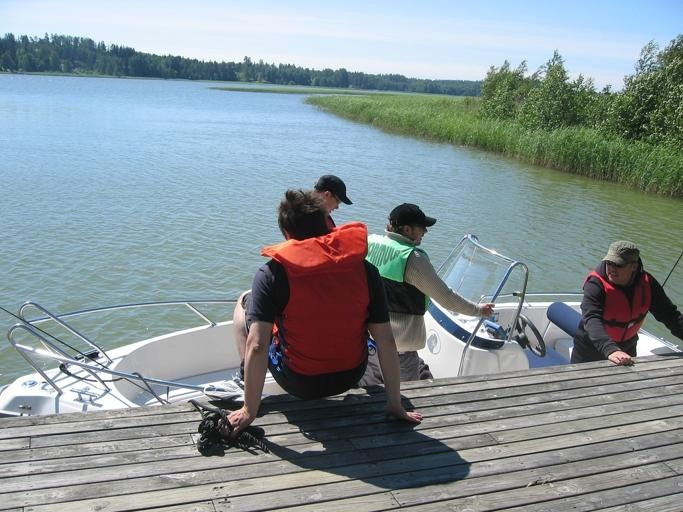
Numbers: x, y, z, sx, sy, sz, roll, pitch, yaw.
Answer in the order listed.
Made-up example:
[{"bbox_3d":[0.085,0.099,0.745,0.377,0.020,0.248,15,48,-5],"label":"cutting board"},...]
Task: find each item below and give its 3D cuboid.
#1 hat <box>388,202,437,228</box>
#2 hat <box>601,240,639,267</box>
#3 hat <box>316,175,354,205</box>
[{"bbox_3d":[0.550,-0.316,4.379,0.320,0.156,0.194,2,15,-14],"label":"hat"},{"bbox_3d":[2.415,-0.027,4.815,0.258,0.219,0.246,17,22,26],"label":"hat"},{"bbox_3d":[-0.079,-0.629,5.183,0.364,0.190,0.244,19,12,-16],"label":"hat"}]
